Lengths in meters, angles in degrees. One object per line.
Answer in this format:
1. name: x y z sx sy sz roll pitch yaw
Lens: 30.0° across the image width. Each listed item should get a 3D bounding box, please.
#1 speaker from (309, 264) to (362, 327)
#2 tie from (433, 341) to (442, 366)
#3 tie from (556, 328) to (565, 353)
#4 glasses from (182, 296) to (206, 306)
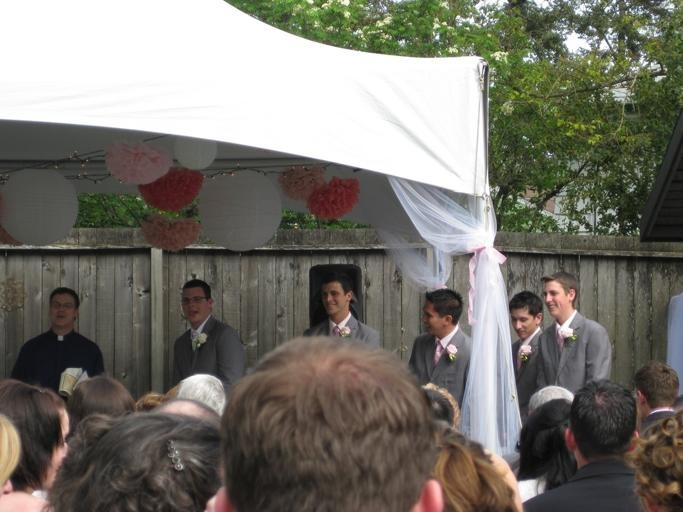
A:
1. speaker: -0.103 0.323 12.827 0.504 0.853 0.431 -4 37 -6
2. tie: 0.881 0.914 12.011 0.070 0.202 0.139 -3 7 -25
3. tie: 2.009 0.796 11.974 0.042 0.180 0.107 3 5 1
4. glasses: -1.428 0.436 12.402 0.217 0.086 0.089 1 6 13
